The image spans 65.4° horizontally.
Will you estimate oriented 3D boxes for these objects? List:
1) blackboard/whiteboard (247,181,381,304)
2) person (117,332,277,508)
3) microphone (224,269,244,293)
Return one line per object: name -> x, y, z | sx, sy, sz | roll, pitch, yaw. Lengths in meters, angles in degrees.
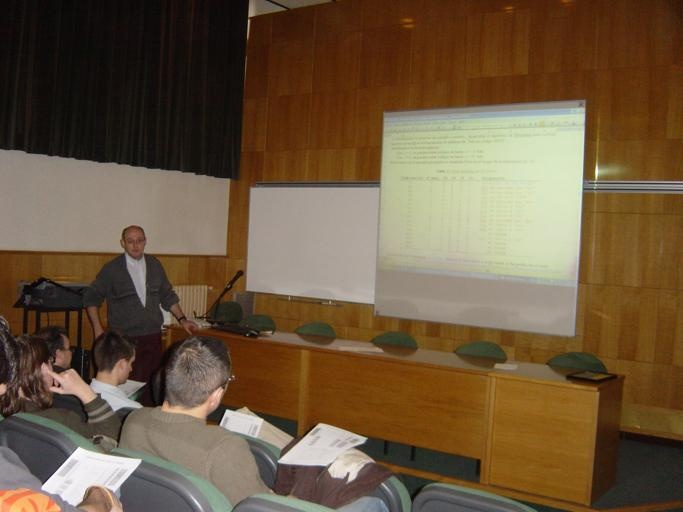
blackboard/whiteboard -> -0.174, -0.191, 6.591 | 2.197, 1.698, 1.181 | 2, 3, 24
person -> -0.629, 0.704, 2.352 | 0.647, 0.854, 0.457 | 19, 25, 19
microphone -> -1.214, 0.294, 5.966 | 0.088, 0.366, 0.077 | 40, 9, 27
